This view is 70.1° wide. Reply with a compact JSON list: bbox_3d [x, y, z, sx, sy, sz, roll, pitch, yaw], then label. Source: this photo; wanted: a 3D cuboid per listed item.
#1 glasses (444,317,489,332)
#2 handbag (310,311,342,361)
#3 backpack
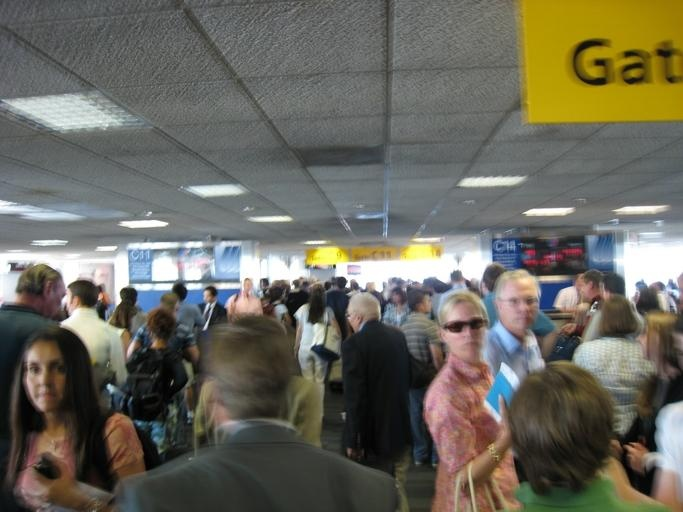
[{"bbox_3d":[0.607,0.338,2.374,0.209,0.068,0.104,0,-3,8],"label":"glasses"},{"bbox_3d":[-0.199,0.998,5.962,0.217,0.541,0.429,-9,-48,19],"label":"handbag"},{"bbox_3d":[-1.523,1.006,3.792,0.556,0.523,0.316,-2,-13,26],"label":"backpack"}]
